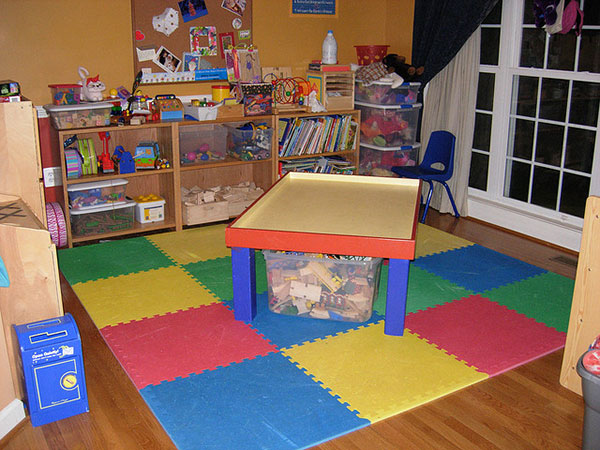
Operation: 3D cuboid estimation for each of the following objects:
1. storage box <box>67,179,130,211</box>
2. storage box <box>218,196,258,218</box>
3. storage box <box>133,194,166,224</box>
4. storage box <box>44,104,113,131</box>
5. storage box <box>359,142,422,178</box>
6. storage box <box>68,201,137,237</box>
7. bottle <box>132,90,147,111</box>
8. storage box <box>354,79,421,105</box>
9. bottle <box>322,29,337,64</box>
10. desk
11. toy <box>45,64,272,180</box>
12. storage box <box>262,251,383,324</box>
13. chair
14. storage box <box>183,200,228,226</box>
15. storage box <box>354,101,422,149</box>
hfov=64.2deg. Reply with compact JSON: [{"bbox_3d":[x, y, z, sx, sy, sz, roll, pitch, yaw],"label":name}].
[{"bbox_3d":[-1.764,-0.268,4.147,0.396,0.183,0.252,-11,23,-32],"label":"storage box"},{"bbox_3d":[-0.576,-0.188,4.585,0.275,0.122,0.213,-8,9,-33],"label":"storage box"},{"bbox_3d":[-1.380,-0.148,4.413,0.246,0.248,0.248,-10,18,-37],"label":"storage box"},{"bbox_3d":[-1.786,-0.894,3.907,0.366,0.137,0.261,-9,21,-26],"label":"storage box"},{"bbox_3d":[0.934,-0.709,5.017,0.442,0.281,0.450,-7,22,-17],"label":"storage box"},{"bbox_3d":[-1.718,-0.049,4.171,0.513,0.255,0.288,-13,21,-41],"label":"storage box"},{"bbox_3d":[-1.438,-1.081,4.256,0.137,0.130,0.080,-8,18,-17],"label":"bottle"},{"bbox_3d":[0.871,-1.328,4.831,0.640,0.221,0.304,1,18,10],"label":"storage box"},{"bbox_3d":[0.292,-1.758,4.734,0.136,0.321,0.109,-1,17,3],"label":"bottle"},{"bbox_3d":[0.231,-0.051,3.091,0.945,0.562,1.225,7,23,15],"label":"desk"},{"bbox_3d":[-1.226,-0.837,4.360,1.847,0.647,0.501,-11,20,-25],"label":"toy"},{"bbox_3d":[0.127,0.386,3.000,0.622,0.335,0.451,2,12,9],"label":"storage box"},{"bbox_3d":[1.180,-0.445,4.423,0.550,0.918,0.661,-8,20,-28],"label":"chair"},{"bbox_3d":[-0.888,-0.113,4.477,0.273,0.137,0.276,-6,14,-25],"label":"storage box"},{"bbox_3d":[0.936,-1.080,5.133,0.552,0.422,0.708,-7,15,-28],"label":"storage box"}]
